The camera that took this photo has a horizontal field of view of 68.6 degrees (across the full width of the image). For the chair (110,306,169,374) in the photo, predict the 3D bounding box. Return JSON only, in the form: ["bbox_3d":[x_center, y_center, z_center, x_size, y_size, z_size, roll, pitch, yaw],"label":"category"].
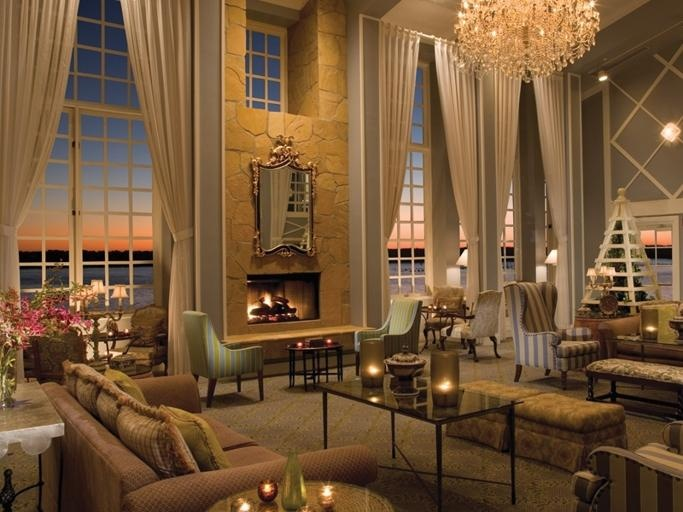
[{"bbox_3d":[-2.681,1.181,6.643,0.655,1.084,0.734,-1,-4,-4],"label":"chair"}]

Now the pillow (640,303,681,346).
[{"bbox_3d":[3.564,0.785,5.601,0.455,0.417,0.158,2,-1,-38],"label":"pillow"}]

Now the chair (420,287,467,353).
[{"bbox_3d":[1.875,1.128,9.302,0.818,1.131,0.829,1,7,23],"label":"chair"}]

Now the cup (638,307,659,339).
[{"bbox_3d":[3.468,0.753,5.627,0.173,0.381,0.183,-3,-4,0],"label":"cup"}]

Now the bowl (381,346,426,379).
[{"bbox_3d":[0.495,0.820,3.821,0.265,0.265,0.373,-1,-5,-15],"label":"bowl"}]

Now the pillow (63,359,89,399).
[{"bbox_3d":[-1.737,0.794,3.214,0.085,0.202,0.193,5,-4,-41],"label":"pillow"}]

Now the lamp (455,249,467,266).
[{"bbox_3d":[2.345,0.030,9.572,0.319,0.325,0.304,1,-1,0],"label":"lamp"}]

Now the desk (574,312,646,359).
[{"bbox_3d":[3.419,1.037,6.348,0.783,0.560,0.445,0,-1,-33],"label":"desk"}]

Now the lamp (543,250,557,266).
[{"bbox_3d":[4.586,0.035,11.019,0.335,0.328,0.372,2,-6,0],"label":"lamp"}]

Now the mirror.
[{"bbox_3d":[-0.875,-0.891,7.477,1.028,1.760,0.225,0,-5,-34],"label":"mirror"}]

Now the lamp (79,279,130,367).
[{"bbox_3d":[-3.033,0.902,6.868,0.719,0.980,0.727,-2,-5,-31],"label":"lamp"}]
